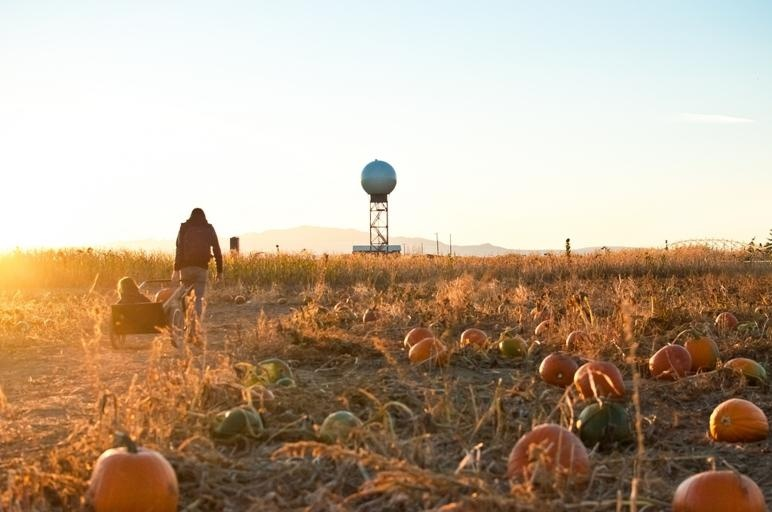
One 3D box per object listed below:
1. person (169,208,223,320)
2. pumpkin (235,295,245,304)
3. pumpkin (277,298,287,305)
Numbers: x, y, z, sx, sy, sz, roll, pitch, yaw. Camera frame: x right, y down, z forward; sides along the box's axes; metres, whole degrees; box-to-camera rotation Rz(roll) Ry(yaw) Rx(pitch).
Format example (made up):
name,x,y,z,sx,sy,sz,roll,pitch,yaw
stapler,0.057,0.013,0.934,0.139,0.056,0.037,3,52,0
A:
name,x,y,z,sx,sy,sz,roll,pitch,yaw
person,-3.575,0.234,12.785,0.847,2.292,0.670,5,-11,-10
pumpkin,-3.599,1.087,16.838,0.181,0.131,0.192,2,5,24
pumpkin,-2.568,1.108,16.674,0.141,0.099,0.164,-3,5,-33
